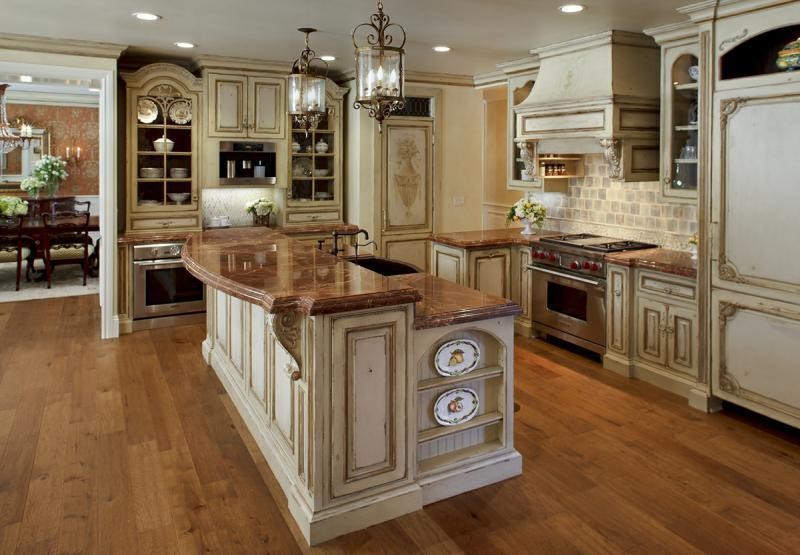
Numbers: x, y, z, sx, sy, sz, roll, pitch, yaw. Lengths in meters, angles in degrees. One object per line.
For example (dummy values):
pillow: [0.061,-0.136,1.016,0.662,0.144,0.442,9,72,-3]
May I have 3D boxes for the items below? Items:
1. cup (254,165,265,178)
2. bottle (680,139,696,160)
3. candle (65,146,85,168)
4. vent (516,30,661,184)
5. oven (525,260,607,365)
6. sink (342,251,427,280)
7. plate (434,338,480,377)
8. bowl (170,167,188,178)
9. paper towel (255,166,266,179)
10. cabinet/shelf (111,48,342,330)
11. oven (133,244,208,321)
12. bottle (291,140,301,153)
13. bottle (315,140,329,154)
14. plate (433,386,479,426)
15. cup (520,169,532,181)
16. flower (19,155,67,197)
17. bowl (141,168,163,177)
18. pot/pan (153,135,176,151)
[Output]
cup: [-1.762,-1.318,7.108,0.142,0.162,0.143,0,9,0]
bottle: [2.518,-1.129,5.018,0.158,0.152,0.094,-3,5,-18]
candle: [-6.207,-2.295,10.808,0.296,0.383,0.074,-12,17,-42]
vent: [1.982,-1.731,5.974,0.784,1.390,1.427,-8,14,-23]
oven: [1.919,0.238,5.971,0.708,0.898,0.970,-13,17,-31]
sink: [-0.135,-0.082,4.826,0.269,0.124,0.774,-13,18,-42]
plate: [0.383,0.534,3.778,0.275,0.308,0.049,-16,31,-10]
bowl: [-2.623,-1.234,6.751,0.214,0.119,0.098,-6,14,-22]
paper towel: [-1.758,-1.322,7.183,0.134,0.155,0.136,3,6,16]
cabinet/shelf: [-1.993,-1.018,6.034,3.035,3.030,0.845,-4,6,-29]
oven: [-2.741,0.205,6.922,0.879,1.009,0.786,-5,-20,-16]
bottle: [-1.328,-1.675,7.290,0.125,0.134,0.124,-3,3,-35]
bottle: [-1.017,-1.690,7.417,0.167,0.198,0.168,0,-1,-1]
plate: [0.389,0.868,3.804,0.266,0.053,0.317,10,30,16]
cup: [1.452,-1.166,6.512,0.123,0.093,0.125,-1,6,0]
flower: [-6.253,-1.787,10.135,0.669,0.606,0.608,-13,18,-25]
bowl: [-2.904,-1.210,6.606,0.144,0.061,0.146,1,1,0]
pot/pan: [-2.772,-1.542,6.640,0.189,0.165,0.188,0,-1,-5]
